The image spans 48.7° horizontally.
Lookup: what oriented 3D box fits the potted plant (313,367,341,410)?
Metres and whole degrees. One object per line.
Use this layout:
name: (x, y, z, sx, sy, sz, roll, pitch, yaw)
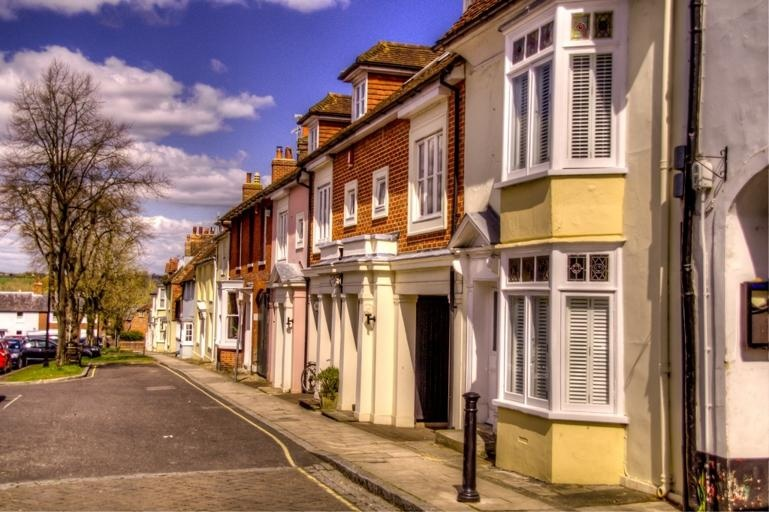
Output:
potted plant: (-1.613, 3.998, 25.288, 0.701, 1.131, 0.880, 0, -10, -10)
